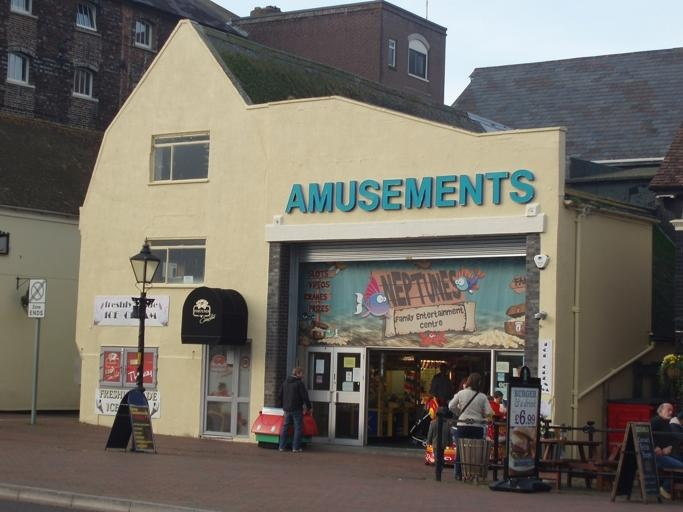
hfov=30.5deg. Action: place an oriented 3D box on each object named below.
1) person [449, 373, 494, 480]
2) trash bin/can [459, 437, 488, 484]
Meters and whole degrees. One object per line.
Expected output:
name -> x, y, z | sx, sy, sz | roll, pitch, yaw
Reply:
person -> 2.998, 4.034, 30.099 | 0.993, 2.618, 0.860 | 3, 14, -4
trash bin/can -> 3.108, 4.688, 29.429 | 0.821, 1.049, 0.867 | -1, 3, -16
